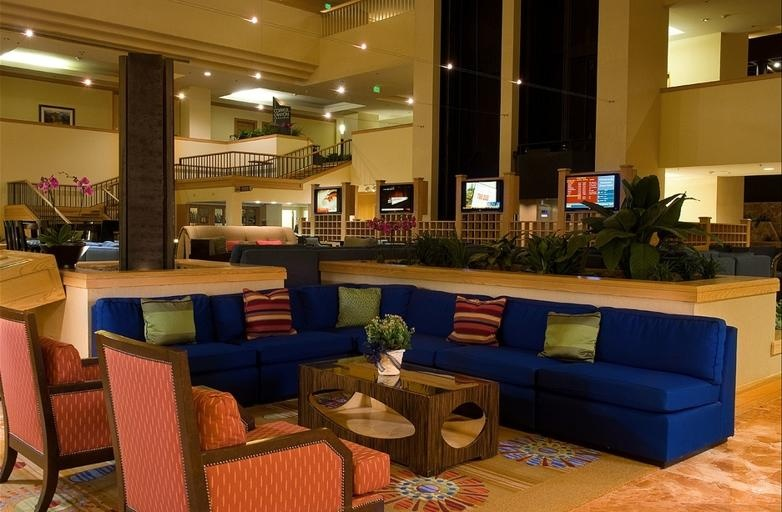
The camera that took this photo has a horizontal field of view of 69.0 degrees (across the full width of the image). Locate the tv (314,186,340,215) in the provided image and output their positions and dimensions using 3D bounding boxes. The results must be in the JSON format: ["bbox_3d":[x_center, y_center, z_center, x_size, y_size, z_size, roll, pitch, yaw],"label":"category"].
[{"bbox_3d":[-1.812,-1.594,16.051,0.495,0.585,0.893,-2,3,-43],"label":"tv"}]

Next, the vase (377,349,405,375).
[{"bbox_3d":[-0.013,0.842,4.583,0.222,0.148,0.210,1,-2,-23],"label":"vase"}]

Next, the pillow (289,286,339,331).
[{"bbox_3d":[-0.873,0.585,6.249,0.503,0.384,0.163,1,-9,-34],"label":"pillow"}]

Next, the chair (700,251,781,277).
[{"bbox_3d":[4.859,0.101,7.900,0.500,0.306,0.260,-2,7,-27],"label":"chair"}]

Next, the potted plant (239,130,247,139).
[{"bbox_3d":[-5.544,-4.551,21.191,0.401,0.367,0.370,-2,1,-20],"label":"potted plant"}]

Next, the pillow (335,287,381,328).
[{"bbox_3d":[-0.388,0.574,6.249,0.451,0.395,0.152,2,-21,-12],"label":"pillow"}]

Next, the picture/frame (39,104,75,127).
[{"bbox_3d":[-11.764,-5.001,19.961,1.139,0.622,0.202,-5,16,-26],"label":"picture/frame"}]

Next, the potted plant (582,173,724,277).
[{"bbox_3d":[2.440,-0.305,5.554,1.166,0.755,1.167,6,10,40],"label":"potted plant"}]

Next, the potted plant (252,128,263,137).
[{"bbox_3d":[-4.843,-4.505,20.634,0.454,0.312,1.039,-6,15,-27],"label":"potted plant"}]

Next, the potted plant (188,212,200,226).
[{"bbox_3d":[-6.596,-1.296,18.903,0.304,0.352,0.198,11,17,34],"label":"potted plant"}]

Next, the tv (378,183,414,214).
[{"bbox_3d":[0.119,-1.482,14.675,1.125,0.835,0.208,11,18,35],"label":"tv"}]

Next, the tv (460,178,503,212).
[{"bbox_3d":[2.089,-1.415,12.960,0.871,0.579,0.123,3,4,39],"label":"tv"}]

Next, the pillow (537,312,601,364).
[{"bbox_3d":[1.579,0.715,4.980,0.226,0.399,0.379,16,2,-11],"label":"pillow"}]
